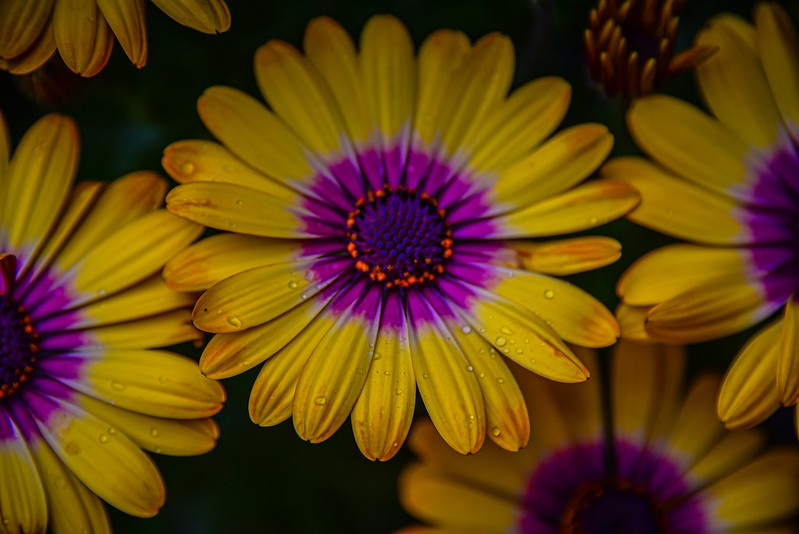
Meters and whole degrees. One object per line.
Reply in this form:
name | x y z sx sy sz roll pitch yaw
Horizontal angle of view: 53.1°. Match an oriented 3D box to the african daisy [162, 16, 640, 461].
african daisy | -0.006 -0.041 0.995 0.581 0.407 0.378 5 -45 -9
